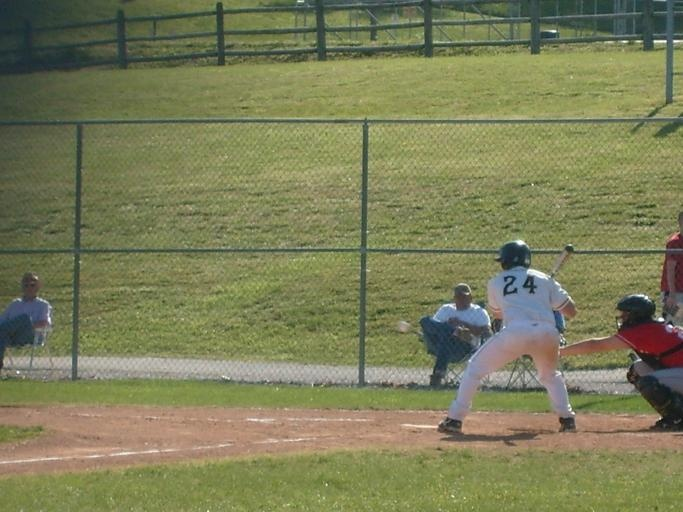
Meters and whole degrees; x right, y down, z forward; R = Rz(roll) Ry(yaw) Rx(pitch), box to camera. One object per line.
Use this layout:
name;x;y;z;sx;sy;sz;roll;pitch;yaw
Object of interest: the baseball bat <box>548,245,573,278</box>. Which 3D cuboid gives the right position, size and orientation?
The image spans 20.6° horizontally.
baseball bat;5.161;0.108;44.257;0.178;0.832;0.196;34;16;16
